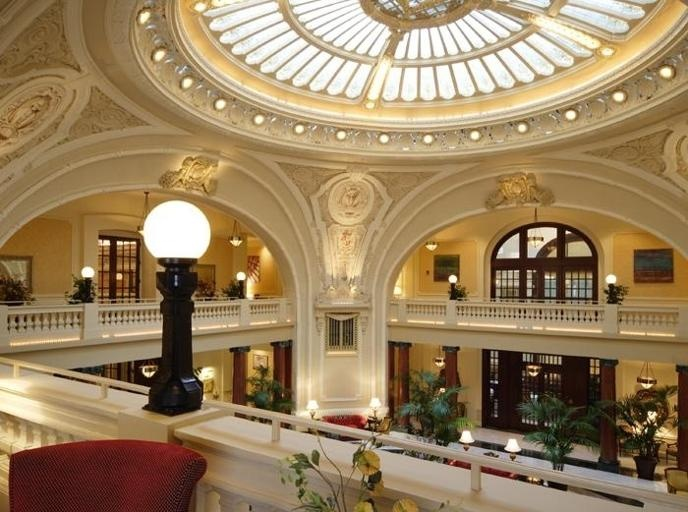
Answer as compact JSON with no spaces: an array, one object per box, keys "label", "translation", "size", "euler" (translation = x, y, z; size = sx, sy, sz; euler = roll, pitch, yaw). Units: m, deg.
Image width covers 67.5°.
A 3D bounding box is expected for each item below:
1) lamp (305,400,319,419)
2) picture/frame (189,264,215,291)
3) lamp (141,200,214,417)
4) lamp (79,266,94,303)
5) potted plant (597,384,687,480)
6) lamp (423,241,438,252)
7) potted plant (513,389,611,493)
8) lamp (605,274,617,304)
[{"label":"lamp","translation":[-0.905,4.464,14.909],"size":[0.365,0.566,1.043],"euler":[2,-9,-2]},{"label":"picture/frame","translation":[-3.742,0.586,13.743],"size":[0.079,1.077,1.031],"euler":[-11,-13,29]},{"label":"lamp","translation":[-1.386,0.394,4.203],"size":[0.569,1.753,0.440],"euler":[4,-10,-15]},{"label":"lamp","translation":[-5.482,0.616,11.053],"size":[0.248,0.803,1.050],"euler":[6,-10,-26]},{"label":"potted plant","translation":[7.356,4.356,12.712],"size":[1.601,2.300,2.787],"euler":[-4,-11,32]},{"label":"lamp","translation":[2.958,-0.319,17.591],"size":[0.372,0.258,0.370],"euler":[-4,-2,24]},{"label":"potted plant","translation":[4.915,4.245,11.811],"size":[1.863,1.476,1.619],"euler":[9,-10,-29]},{"label":"lamp","translation":[6.750,0.838,12.992],"size":[0.264,0.766,1.045],"euler":[-3,-10,27]}]
